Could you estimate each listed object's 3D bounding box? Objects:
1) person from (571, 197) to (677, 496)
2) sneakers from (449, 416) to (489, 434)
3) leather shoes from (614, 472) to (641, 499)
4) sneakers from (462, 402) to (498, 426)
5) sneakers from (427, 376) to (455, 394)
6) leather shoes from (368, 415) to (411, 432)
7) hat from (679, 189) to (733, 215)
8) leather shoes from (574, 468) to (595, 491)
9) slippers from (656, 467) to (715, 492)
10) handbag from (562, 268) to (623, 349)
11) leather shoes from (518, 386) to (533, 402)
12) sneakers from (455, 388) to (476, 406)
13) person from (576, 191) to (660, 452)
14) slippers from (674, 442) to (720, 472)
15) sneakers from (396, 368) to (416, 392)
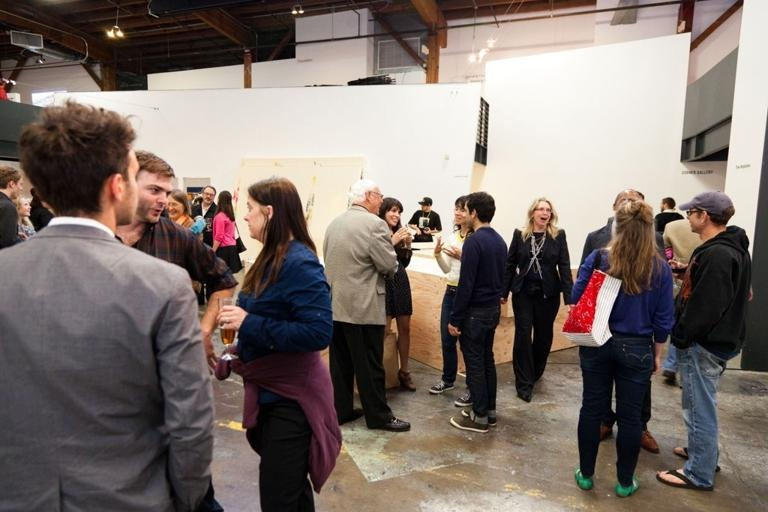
[{"bbox_3d":[1.622,0.636,3.722,0.712,2.006,0.610,6,5,28],"label":"person"},{"bbox_3d":[0.706,1.400,4.353,0.283,0.115,0.132,8,-6,19],"label":"sneakers"},{"bbox_3d":[1.698,1.594,3.660,0.087,0.101,0.229,1,6,41],"label":"leather shoes"},{"bbox_3d":[0.834,1.367,4.570,0.120,0.138,0.353,-1,6,-7],"label":"sneakers"},{"bbox_3d":[0.539,1.251,5.026,0.291,0.128,0.099,3,-4,-25],"label":"sneakers"},{"bbox_3d":[0.052,1.386,4.353,0.354,0.141,0.130,-3,-5,0],"label":"leather shoes"},{"bbox_3d":[2.353,-0.385,3.829,0.295,0.156,0.200,6,7,42],"label":"hat"},{"bbox_3d":[1.426,1.576,3.699,0.071,0.079,0.183,0,3,10],"label":"leather shoes"},{"bbox_3d":[2.131,1.563,3.716,0.308,0.084,0.137,2,-1,15],"label":"slippers"},{"bbox_3d":[1.377,0.367,3.486,0.287,0.520,0.230,11,17,33],"label":"handbag"},{"bbox_3d":[1.329,1.271,4.926,0.142,0.113,0.233,5,15,16],"label":"leather shoes"},{"bbox_3d":[0.734,1.300,4.755,0.088,0.113,0.264,-2,-9,33],"label":"sneakers"},{"bbox_3d":[2.239,0.625,4.968,0.892,2.618,0.733,4,20,22],"label":"person"},{"bbox_3d":[2.363,1.507,4.022,0.149,0.131,0.426,-3,5,-9],"label":"slippers"},{"bbox_3d":[0.169,1.202,5.039,0.097,0.187,0.282,0,-3,-43],"label":"sneakers"}]
